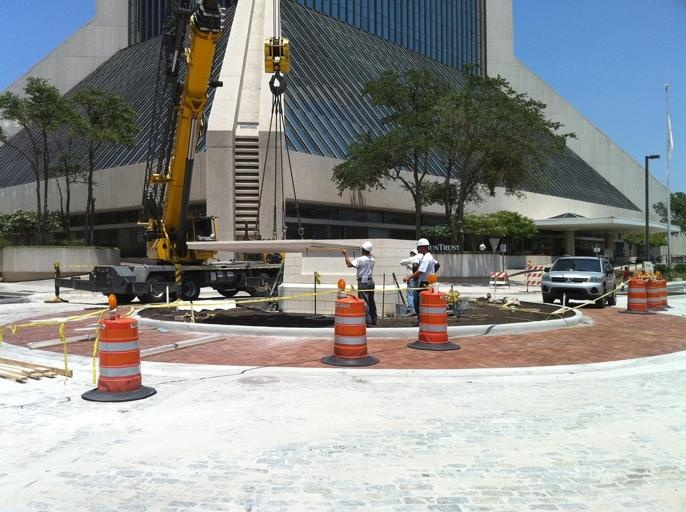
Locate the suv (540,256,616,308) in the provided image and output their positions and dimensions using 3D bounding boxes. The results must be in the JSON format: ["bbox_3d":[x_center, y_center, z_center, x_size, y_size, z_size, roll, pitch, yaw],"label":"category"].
[{"bbox_3d":[8.282,0.790,23.838,1.546,1.014,2.797,-1,-5,30],"label":"suv"}]

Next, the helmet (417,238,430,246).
[{"bbox_3d":[1.950,-0.369,16.989,0.283,0.123,0.294,0,-4,8],"label":"helmet"}]

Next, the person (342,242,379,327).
[{"bbox_3d":[0.448,0.651,16.123,0.594,2.001,1.275,-1,-3,4],"label":"person"}]
